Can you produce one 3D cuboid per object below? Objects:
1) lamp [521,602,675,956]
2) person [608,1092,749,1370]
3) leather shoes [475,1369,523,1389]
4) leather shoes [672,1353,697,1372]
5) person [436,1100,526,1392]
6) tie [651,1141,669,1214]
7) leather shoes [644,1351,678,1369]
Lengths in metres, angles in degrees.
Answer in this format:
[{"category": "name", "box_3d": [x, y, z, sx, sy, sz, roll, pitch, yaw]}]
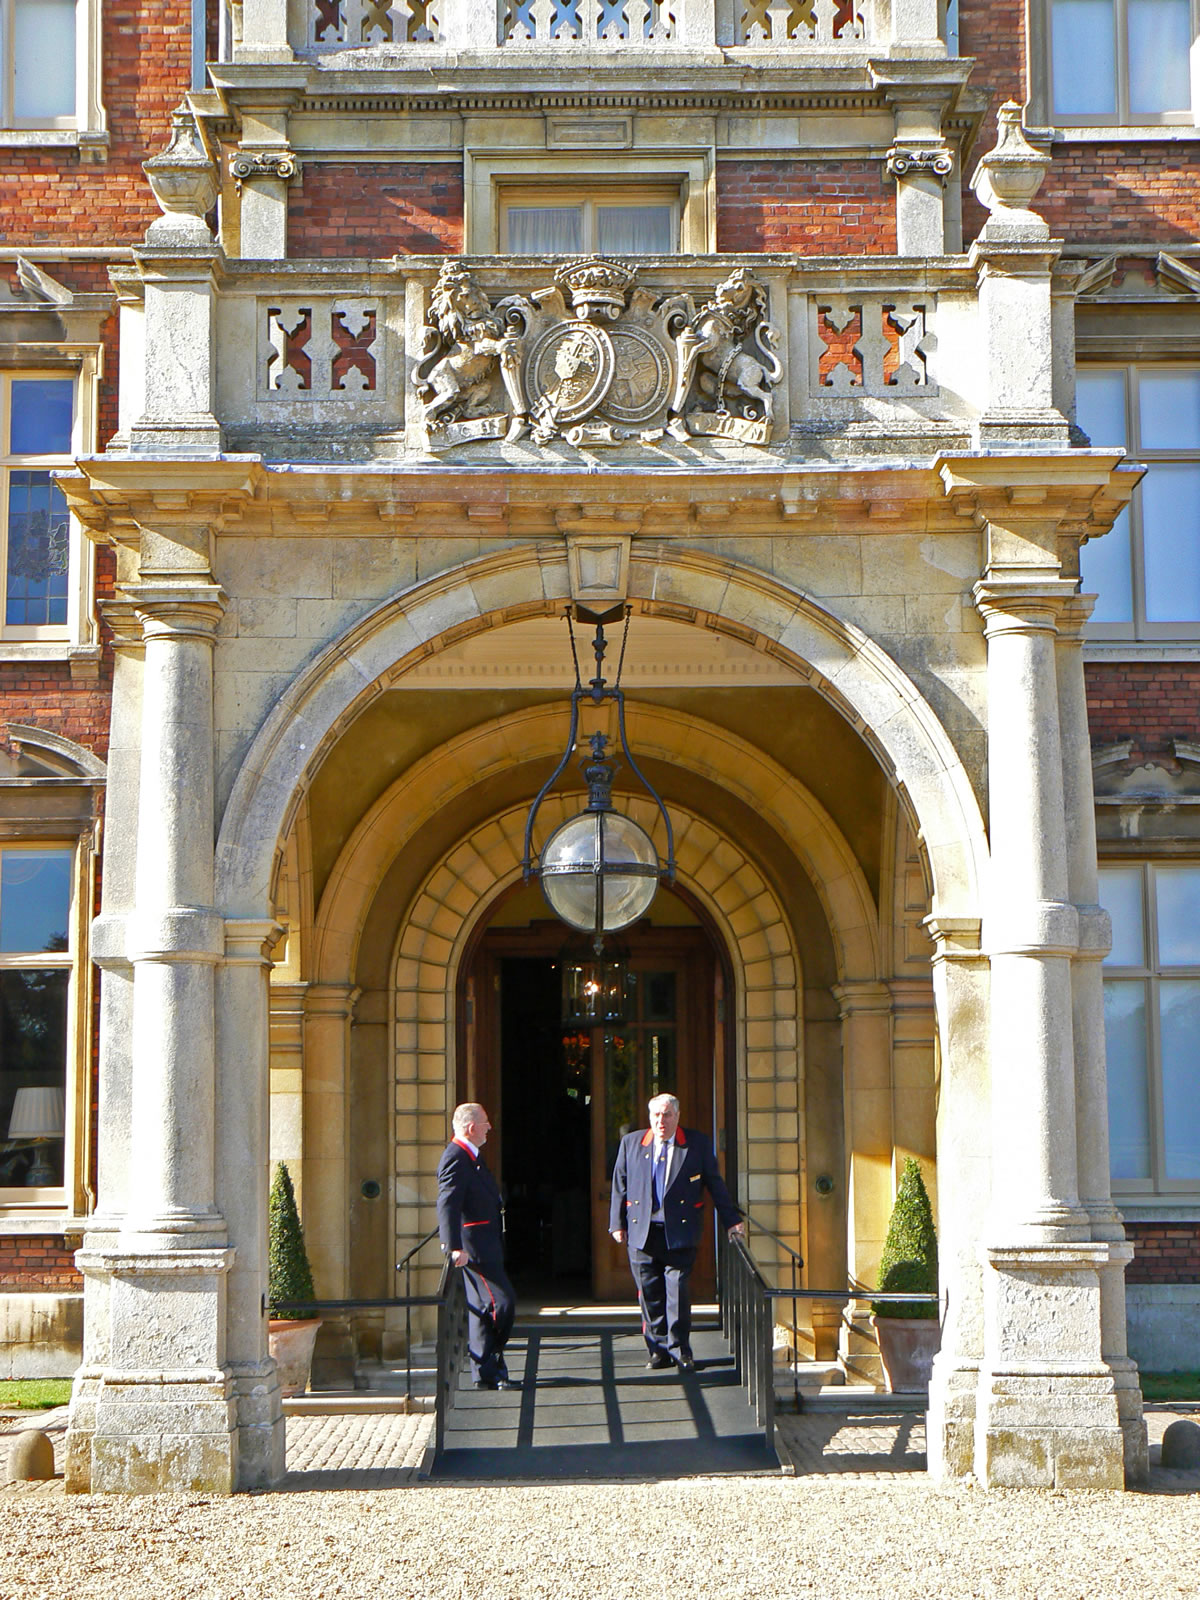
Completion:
[{"category": "lamp", "box_3d": [-0.010, -0.096, 12.866, 0.595, 1.702, 0.579, 2, -19, -3]}, {"category": "person", "box_3d": [0.372, 2.135, 13.629, 0.611, 1.342, 0.774, -1, -9, 0]}, {"category": "leather shoes", "box_3d": [-0.501, 2.843, 13.557, 0.233, 0.094, 0.316, -1, -9, -2]}, {"category": "leather shoes", "box_3d": [0.430, 2.775, 13.652, 0.064, 0.070, 0.113, 0, -5, -3]}, {"category": "person", "box_3d": [-0.628, 2.170, 13.484, 0.344, 1.399, 0.847, -2, -9, 3]}, {"category": "tie", "box_3d": [0.300, 1.872, 13.552, 0.083, 0.373, 0.098, -3, -9, 10]}, {"category": "leather shoes", "box_3d": [0.288, 2.760, 13.619, 0.063, 0.125, 0.177, -7, -16, 33]}]
